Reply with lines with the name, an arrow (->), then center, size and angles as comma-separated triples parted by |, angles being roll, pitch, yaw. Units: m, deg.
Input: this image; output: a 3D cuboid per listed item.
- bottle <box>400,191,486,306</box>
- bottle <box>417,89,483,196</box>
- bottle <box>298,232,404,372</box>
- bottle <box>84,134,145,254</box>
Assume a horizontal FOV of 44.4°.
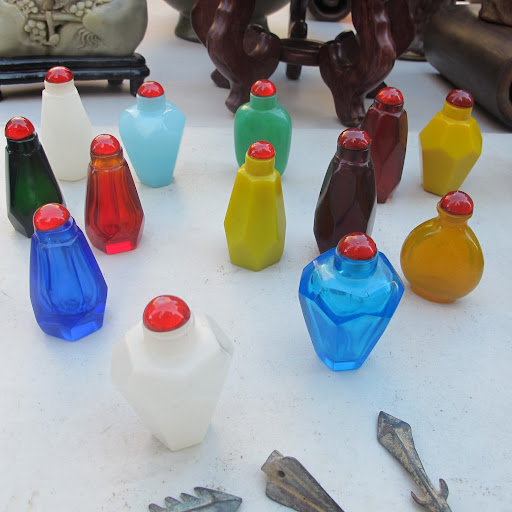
bottle -> 0.368, -0.008, 1.232 | 0.120, 0.183, 0.131 | -3, 49, 4
bottle -> 0.469, -0.265, 1.527 | 0.149, 0.252, 0.104 | 23, 47, 18
bottle -> 0.159, 0.068, 1.070 | 0.158, 0.256, 0.158 | 1, 40, 0
bottle -> -0.295, -0.125, 1.310 | 0.109, 0.240, 0.121 | -31, 58, -30
